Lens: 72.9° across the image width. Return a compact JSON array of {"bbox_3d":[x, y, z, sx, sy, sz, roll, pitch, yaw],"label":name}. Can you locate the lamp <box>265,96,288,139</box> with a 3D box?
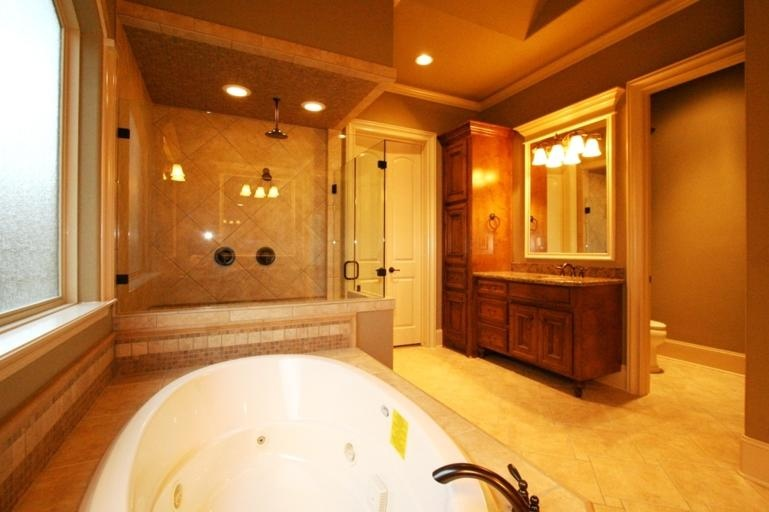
[{"bbox_3d":[-0.897,-1.171,4.430,0.162,0.354,0.174,10,18,33],"label":"lamp"}]

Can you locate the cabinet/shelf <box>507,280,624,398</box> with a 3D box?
[{"bbox_3d":[1.649,0.639,4.747,1.008,0.833,0.564,7,16,24],"label":"cabinet/shelf"}]

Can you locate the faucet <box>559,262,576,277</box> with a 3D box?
[{"bbox_3d":[1.812,0.129,5.134,0.118,0.111,0.204,-2,15,-6],"label":"faucet"}]

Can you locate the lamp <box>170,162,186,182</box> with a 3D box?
[{"bbox_3d":[-1.628,-0.666,4.121,0.135,0.119,0.117,3,-2,-22],"label":"lamp"}]

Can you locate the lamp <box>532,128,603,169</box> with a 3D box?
[{"bbox_3d":[1.815,-1.046,5.113,0.234,0.249,0.657,-18,9,-34],"label":"lamp"}]
